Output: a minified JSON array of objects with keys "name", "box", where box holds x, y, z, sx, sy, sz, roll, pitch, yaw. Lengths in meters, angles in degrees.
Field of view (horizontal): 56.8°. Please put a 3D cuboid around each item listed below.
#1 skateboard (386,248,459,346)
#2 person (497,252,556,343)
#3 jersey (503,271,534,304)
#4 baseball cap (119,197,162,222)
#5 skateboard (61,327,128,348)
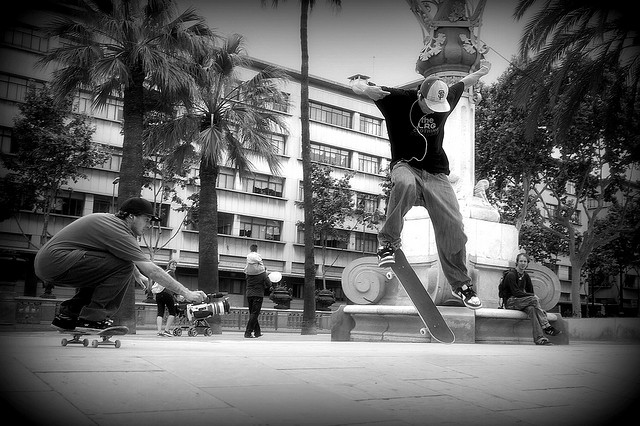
[{"name":"skateboard","box":[1.846,1.538,10.497,0.436,1.917,0.270,-30,3,-33]},{"name":"person","box":[4.148,1.679,11.961,1.020,1.741,0.527,2,-2,13]},{"name":"jersey","box":[4.036,1.479,11.917,0.708,0.740,0.574,0,-5,29]},{"name":"baseball cap","box":[-2.392,-0.078,7.953,0.458,0.238,0.295,9,-6,-15]},{"name":"skateboard","box":[-3.161,1.691,8.182,0.387,0.279,1.499,14,-21,-43]}]
